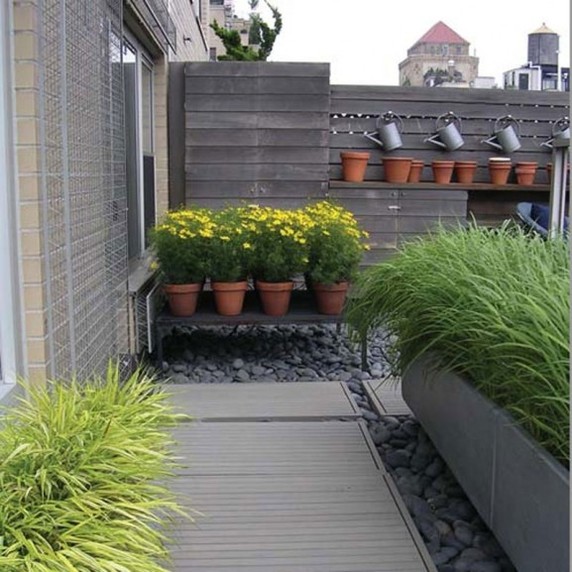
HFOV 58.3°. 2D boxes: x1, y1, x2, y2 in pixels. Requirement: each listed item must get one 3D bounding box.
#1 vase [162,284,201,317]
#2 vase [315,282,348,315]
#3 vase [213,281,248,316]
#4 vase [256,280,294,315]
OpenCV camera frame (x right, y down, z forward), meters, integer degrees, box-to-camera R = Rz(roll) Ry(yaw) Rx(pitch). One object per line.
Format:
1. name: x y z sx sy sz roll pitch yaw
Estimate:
1. vase: -0.643 0.096 3.161 0.193 0.165 0.200 0 -2 -1
2. vase: 0.289 0.076 3.247 0.198 0.186 0.197 -1 0 -2
3. vase: -0.348 0.082 3.187 0.197 0.173 0.204 1 0 1
4. vase: -0.065 0.072 3.212 0.201 0.171 0.209 1 1 1
